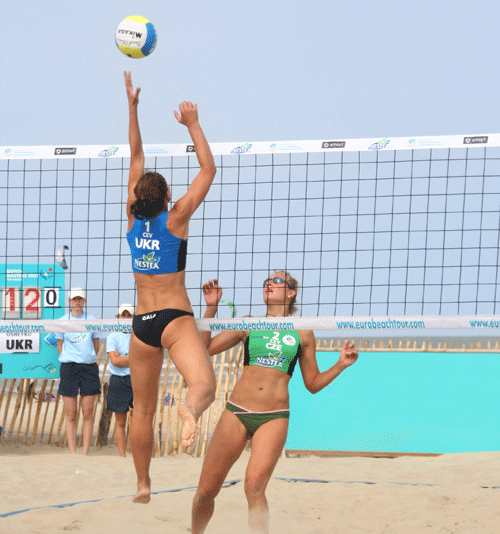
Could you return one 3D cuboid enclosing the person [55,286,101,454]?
[{"bbox_3d":[-1.777,1.089,8.915,0.480,1.772,0.516,-1,-8,2],"label":"person"}]

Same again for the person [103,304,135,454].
[{"bbox_3d":[-1.309,1.193,8.808,0.479,1.505,0.390,-1,-13,2],"label":"person"}]

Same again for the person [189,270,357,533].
[{"bbox_3d":[0.163,0.864,5.795,0.912,2.062,0.980,5,2,-14],"label":"person"}]

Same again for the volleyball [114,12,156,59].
[{"bbox_3d":[-0.780,-1.593,5.915,0.310,0.327,0.286,17,29,20],"label":"volleyball"}]
